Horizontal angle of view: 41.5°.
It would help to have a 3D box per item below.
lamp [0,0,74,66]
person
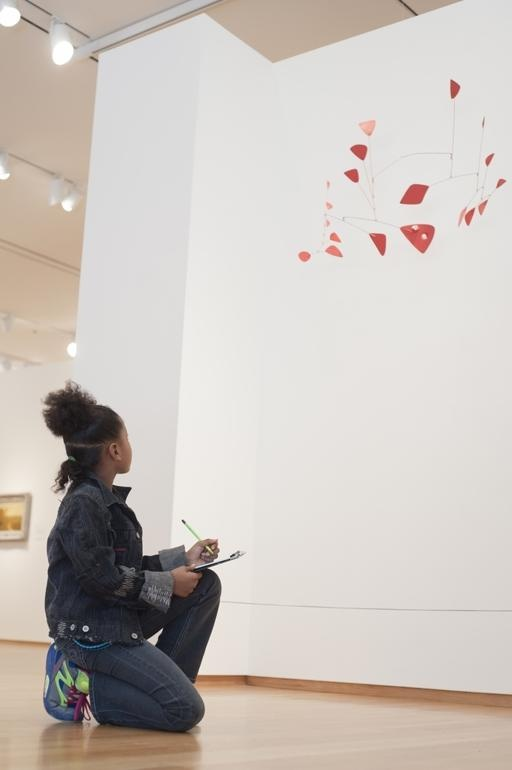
[{"bbox_3d":[-1.276,-2.069,3.938,0.405,0.236,0.156,33,-60,-21],"label":"lamp"},{"bbox_3d":[-0.315,0.399,1.662,0.467,0.786,0.499,5,-7,-1],"label":"person"}]
